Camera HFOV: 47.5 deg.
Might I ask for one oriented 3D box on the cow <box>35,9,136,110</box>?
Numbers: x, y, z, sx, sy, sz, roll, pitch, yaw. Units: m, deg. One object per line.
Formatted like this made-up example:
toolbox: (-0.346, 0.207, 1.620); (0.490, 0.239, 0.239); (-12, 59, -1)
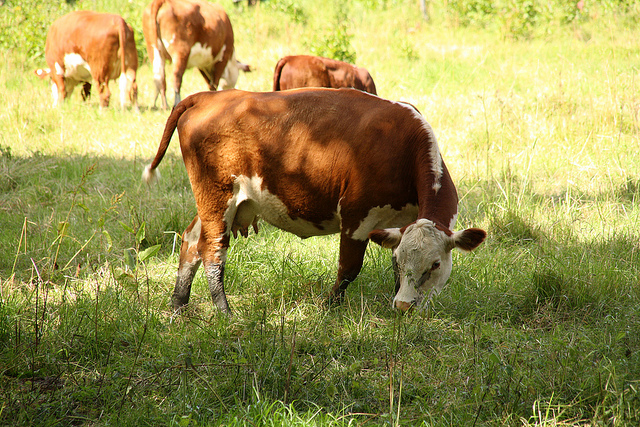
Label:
cow: (-4.414, -3.000, 14.059); (1.800, 1.774, 0.991); (7, 11, 10)
